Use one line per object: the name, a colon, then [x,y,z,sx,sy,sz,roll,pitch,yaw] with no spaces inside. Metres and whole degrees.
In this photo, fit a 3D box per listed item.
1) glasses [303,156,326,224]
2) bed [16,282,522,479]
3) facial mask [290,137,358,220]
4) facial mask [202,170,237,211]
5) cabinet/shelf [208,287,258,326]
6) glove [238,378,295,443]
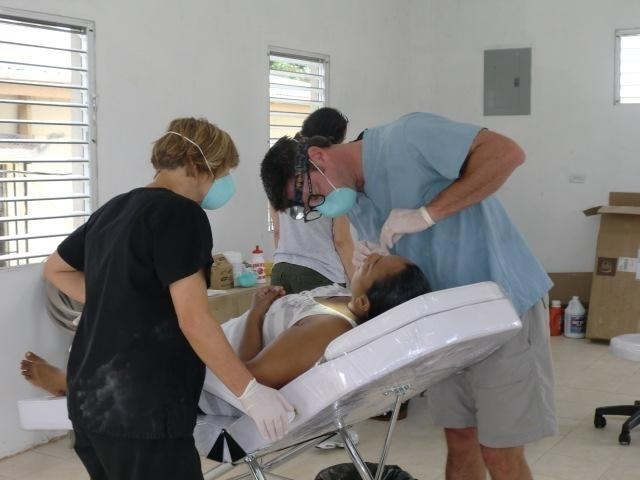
glasses: [-0.050,-0.201,2.171,0.058,0.219,0.153,-9,-11,10]
bed: [-0.137,0.529,2.015,0.882,0.560,0.909,9,-32,-35]
facial mask: [-0.006,-0.192,2.165,0.116,0.328,0.238,-20,-16,31]
facial mask: [-0.360,-0.182,2.032,0.114,0.098,0.118,9,12,7]
cabinet/shelf: [-0.493,0.365,3.063,0.158,0.235,0.304,3,8,32]
glove: [-0.170,0.531,1.799,0.135,0.205,0.059,-34,-2,-3]
